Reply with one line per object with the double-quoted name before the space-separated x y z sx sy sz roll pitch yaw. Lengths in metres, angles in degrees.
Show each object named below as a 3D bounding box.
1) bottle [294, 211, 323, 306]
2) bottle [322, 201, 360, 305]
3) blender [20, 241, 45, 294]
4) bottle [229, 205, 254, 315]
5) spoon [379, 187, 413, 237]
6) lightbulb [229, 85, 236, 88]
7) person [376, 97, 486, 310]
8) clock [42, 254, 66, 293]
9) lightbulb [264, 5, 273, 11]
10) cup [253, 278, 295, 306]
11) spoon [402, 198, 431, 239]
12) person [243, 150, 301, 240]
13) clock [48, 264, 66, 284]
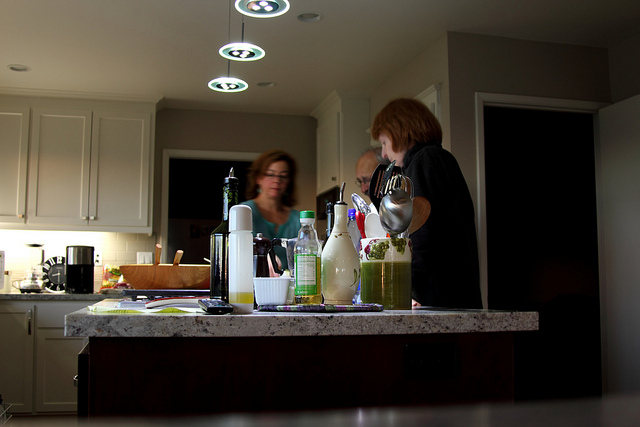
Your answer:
"bottle" -0.044 0.183 2.004 0.108 0.347 0.243 -2 12 -1
"bottle" 0.085 0.150 2.046 0.144 0.377 0.215 2 12 14
"blender" -2.748 0.513 5.051 0.221 0.374 0.746 -7 14 -26
"bottle" -0.268 0.157 1.780 0.087 0.345 0.162 -3 12 -8
"spoon" 0.276 0.000 1.928 0.117 0.173 0.044 0 12 5
"lightbulb" -0.670 -0.973 4.050 0.045 0.018 0.034 0 12 4
"person" 0.521 -0.074 2.522 0.426 0.926 0.549 -1 12 -1
"clock" -2.606 0.601 5.266 0.024 0.350 0.366 -8 -7 27
"lightbulb" -0.317 -1.261 3.256 0.051 0.025 0.028 10 16 41
"cup" -0.171 0.287 1.966 0.095 0.062 0.133 0 -1 -1
"spoon" 0.378 0.036 2.102 0.072 0.204 0.029 1 44 -25
"person" -0.506 -0.228 5.849 0.560 0.894 0.638 -3 12 -7
"clock" -2.595 0.598 5.217 0.191 0.183 0.042 3 -12 1
